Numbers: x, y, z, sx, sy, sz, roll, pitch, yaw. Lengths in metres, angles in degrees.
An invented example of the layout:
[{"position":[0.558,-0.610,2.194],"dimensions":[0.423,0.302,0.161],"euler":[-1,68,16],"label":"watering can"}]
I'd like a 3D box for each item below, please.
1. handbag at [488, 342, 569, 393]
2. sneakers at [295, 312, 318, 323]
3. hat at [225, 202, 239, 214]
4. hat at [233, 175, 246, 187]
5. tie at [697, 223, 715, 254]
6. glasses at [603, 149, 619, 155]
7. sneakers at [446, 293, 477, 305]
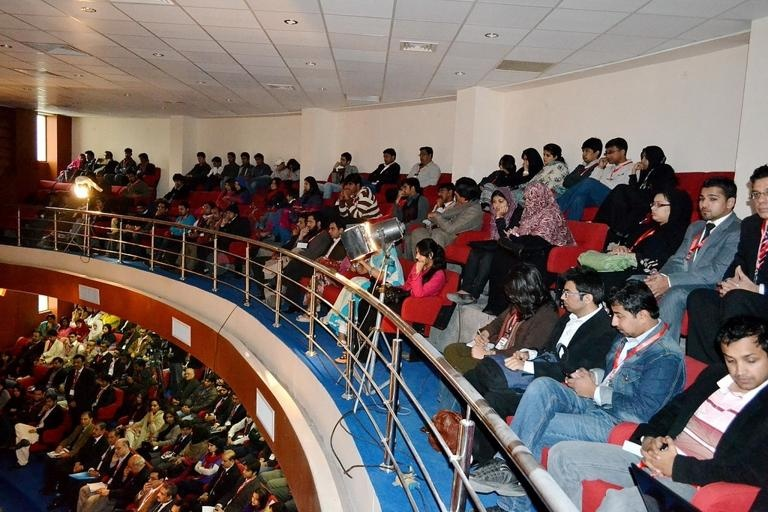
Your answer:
[{"position":[1.160,0.851,3.831],"dimensions":[0.402,0.167,0.401],"euler":[-24,26,-6],"label":"handbag"},{"position":[-0.988,0.731,5.865],"dimensions":[0.150,0.060,0.347],"euler":[-3,11,-24],"label":"sneakers"},{"position":[-2.602,-0.776,8.388],"dimensions":[0.188,0.229,0.190],"euler":[-6,53,5],"label":"hat"},{"position":[-3.343,-1.715,11.226],"dimensions":[0.200,0.235,0.259],"euler":[4,-6,2],"label":"hat"},{"position":[2.804,-0.174,4.273],"dimensions":[0.067,0.406,0.044],"euler":[21,-15,28],"label":"tie"},{"position":[2.955,-1.359,6.391],"dimensions":[0.060,0.076,0.185],"euler":[-2,11,-21],"label":"glasses"},{"position":[0.852,0.455,5.373],"dimensions":[0.319,0.125,0.114],"euler":[15,2,-28],"label":"sneakers"}]
